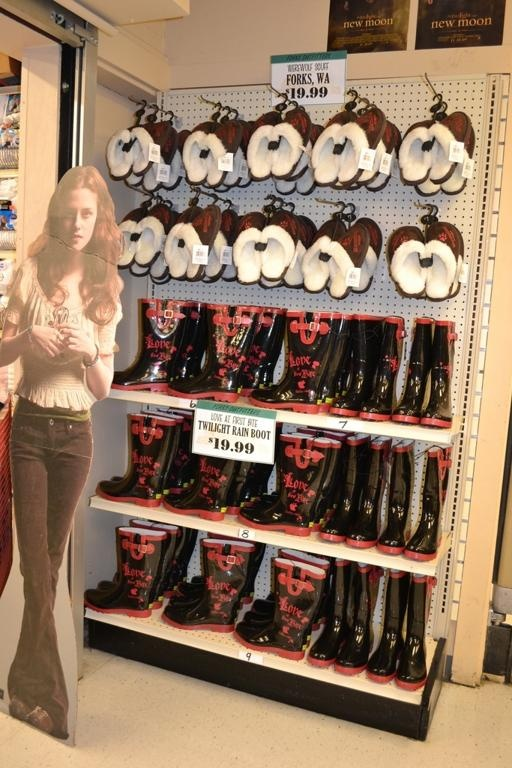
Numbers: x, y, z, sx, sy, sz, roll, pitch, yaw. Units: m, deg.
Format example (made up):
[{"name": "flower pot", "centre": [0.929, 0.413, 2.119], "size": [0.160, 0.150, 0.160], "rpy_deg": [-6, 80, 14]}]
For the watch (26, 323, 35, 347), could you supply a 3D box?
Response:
[{"name": "watch", "centre": [-0.548, -0.121, 1.399], "size": [0.016, 0.045, 0.013], "rpy_deg": [4, 2, 17]}]

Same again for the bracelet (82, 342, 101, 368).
[{"name": "bracelet", "centre": [-0.421, -0.075, 1.478], "size": [0.017, 0.058, 0.040], "rpy_deg": [9, 8, 22]}]
